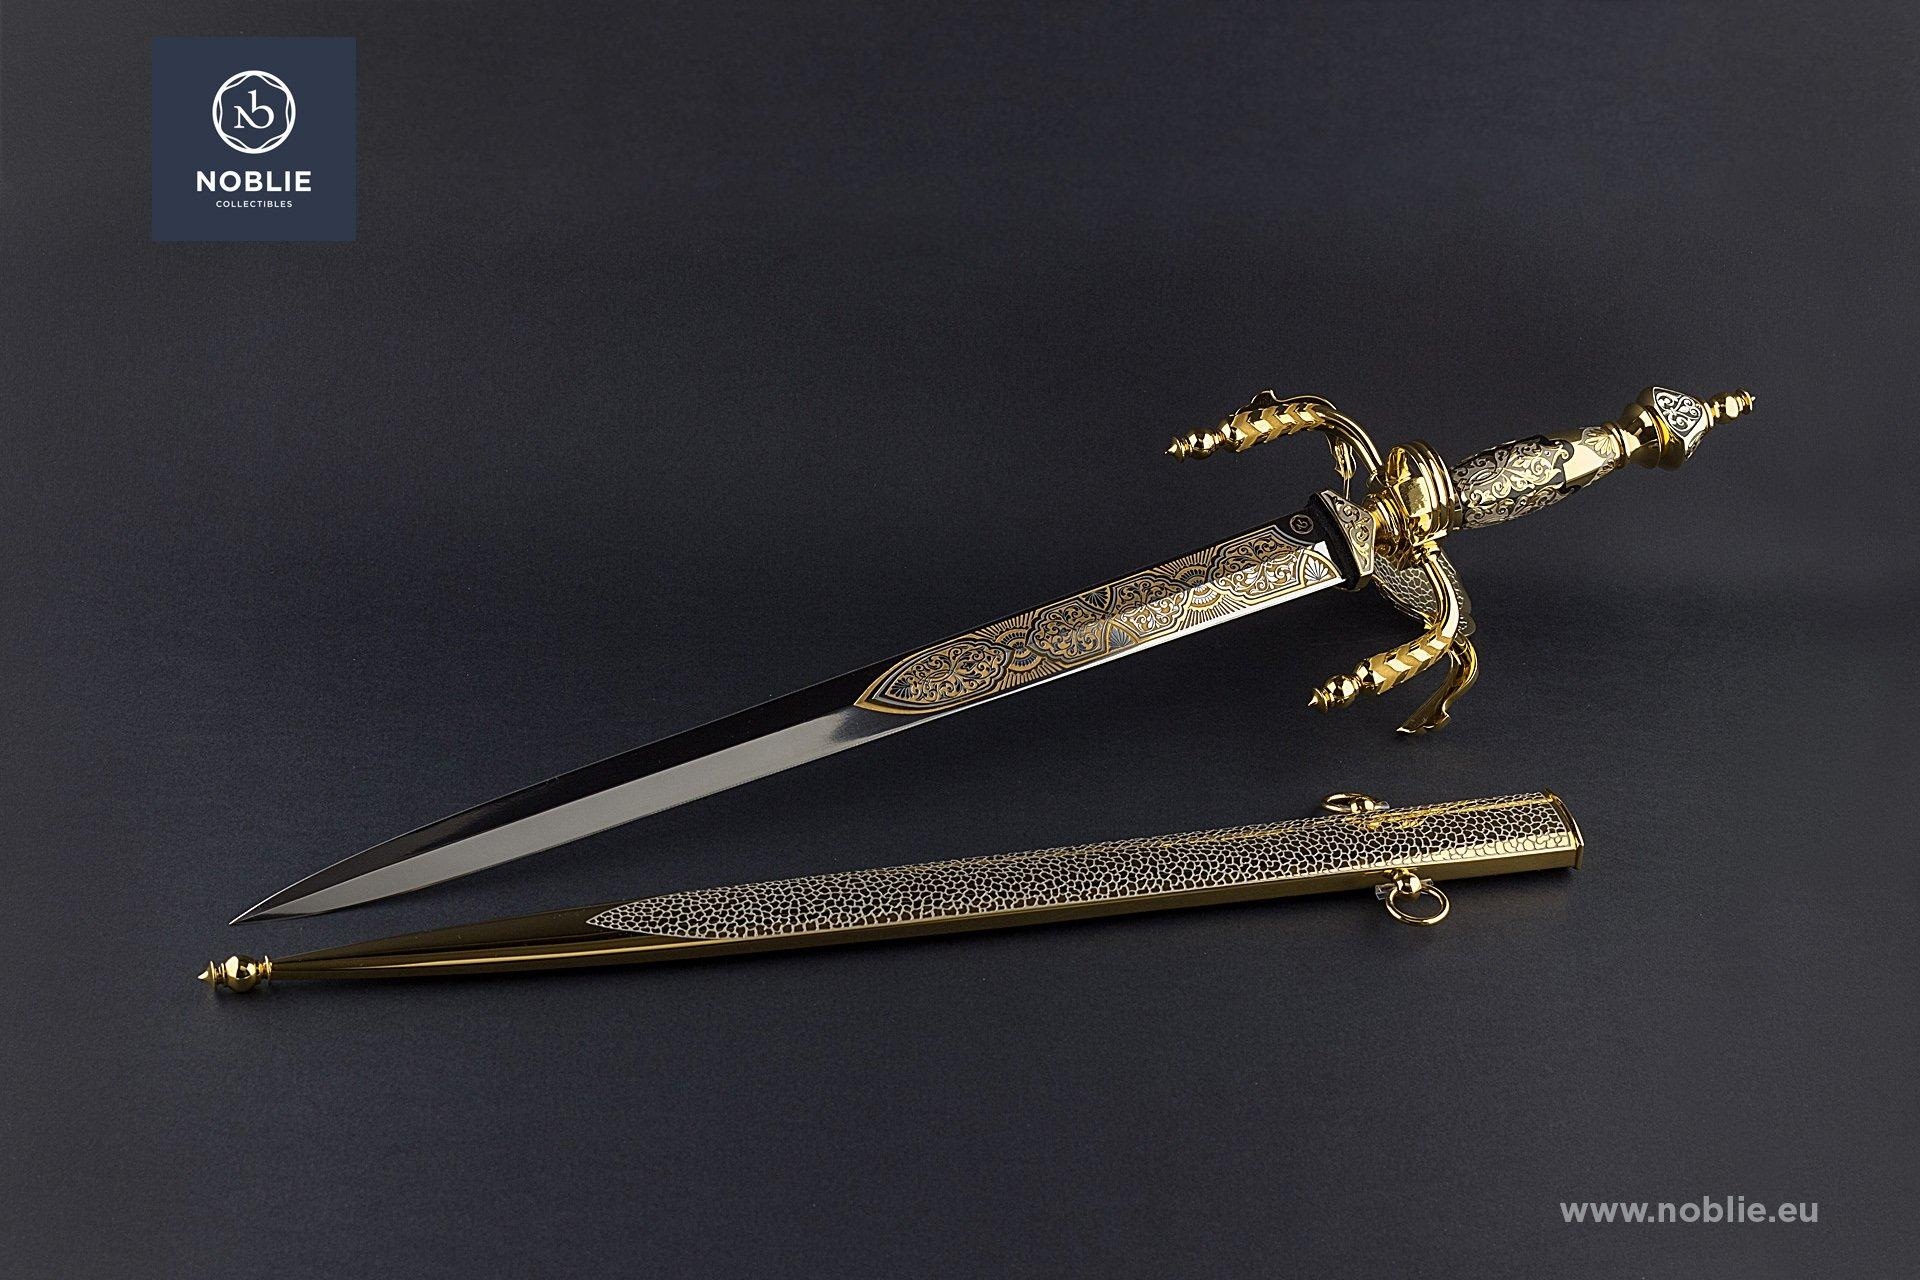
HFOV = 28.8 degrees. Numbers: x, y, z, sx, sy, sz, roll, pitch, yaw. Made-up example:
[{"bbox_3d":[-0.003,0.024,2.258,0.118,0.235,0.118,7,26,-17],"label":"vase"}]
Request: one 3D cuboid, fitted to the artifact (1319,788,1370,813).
[{"bbox_3d":[0.760,0.310,7.373,0.068,0.012,0.045,-1,40,1],"label":"artifact"}]
